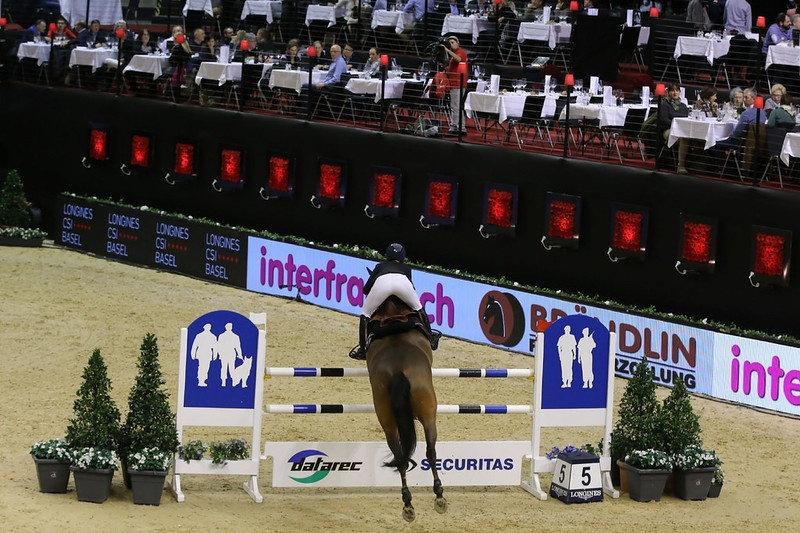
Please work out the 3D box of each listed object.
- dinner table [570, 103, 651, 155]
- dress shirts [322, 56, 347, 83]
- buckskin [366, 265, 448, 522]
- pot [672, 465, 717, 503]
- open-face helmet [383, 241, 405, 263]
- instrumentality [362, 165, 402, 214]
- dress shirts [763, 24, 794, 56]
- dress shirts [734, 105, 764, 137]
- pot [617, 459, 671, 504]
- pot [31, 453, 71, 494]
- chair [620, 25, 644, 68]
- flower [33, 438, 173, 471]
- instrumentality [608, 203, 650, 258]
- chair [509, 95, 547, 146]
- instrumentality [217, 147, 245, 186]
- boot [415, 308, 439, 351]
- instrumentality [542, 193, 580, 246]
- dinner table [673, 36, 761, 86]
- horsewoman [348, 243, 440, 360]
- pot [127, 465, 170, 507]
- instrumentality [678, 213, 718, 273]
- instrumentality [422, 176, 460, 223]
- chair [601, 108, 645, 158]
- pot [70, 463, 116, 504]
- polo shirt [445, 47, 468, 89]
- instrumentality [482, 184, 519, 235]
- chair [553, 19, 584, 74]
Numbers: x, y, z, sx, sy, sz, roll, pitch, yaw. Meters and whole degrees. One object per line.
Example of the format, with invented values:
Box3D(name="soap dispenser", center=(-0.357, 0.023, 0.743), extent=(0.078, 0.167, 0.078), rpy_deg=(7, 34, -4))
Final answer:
Box3D(name="dinner table", center=(4.234, -2.792, 33.787), extent=(1.016, 0.791, 1.394), rpy_deg=(-1, 10, -24))
Box3D(name="dress shirts", center=(-1.381, -4.186, 36.122), extent=(0.252, 0.462, 0.466), rpy_deg=(21, 31, 3))
Box3D(name="buckskin", center=(0.065, 2.237, 27.744), extent=(0.841, 2.944, 4.025), rpy_deg=(-7, 49, 0))
Box3D(name="pot", center=(4.867, 3.572, 28.286), extent=(0.611, 0.629, 0.773), rpy_deg=(-2, 6, -18))
Box3D(name="open-face helmet", center=(-0.083, -0.220, 28.288), extent=(0.239, 0.320, 0.331), rpy_deg=(6, 22, -3))
Box3D(name="instrumentality", center=(-0.331, -1.546, 35.113), extent=(0.638, 0.942, 0.283), rpy_deg=(9, 6, 23))
Box3D(name="dress shirts", center=(7.785, -4.668, 35.028), extent=(0.620, 0.730, 0.524), rpy_deg=(8, 12, 43))
Box3D(name="dress shirts", center=(6.504, -2.736, 32.012), extent=(0.436, 0.581, 0.500), rpy_deg=(1, 3, 17))
Box3D(name="pot", center=(4.134, 3.618, 28.182), extent=(0.593, 0.514, 0.558), rpy_deg=(-1, -6, 0))
Box3D(name="pot", center=(-5.612, 3.269, 27.411), extent=(0.616, 0.633, 0.783), rpy_deg=(1, 16, -14))
Box3D(name="chair", center=(4.988, -4.809, 36.678), extent=(0.574, 0.901, 0.632), rpy_deg=(-1, 12, -2))
Box3D(name="flower", center=(-4.815, 3.031, 27.193), extent=(2.186, 0.483, 0.366), rpy_deg=(0, 3, -4))
Box3D(name="instrumentality", center=(4.427, -0.673, 32.598), extent=(0.817, 0.928, 0.199), rpy_deg=(10, 9, 33))
Box3D(name="chair", center=(2.582, -2.989, 34.923), extent=(0.780, 1.071, 1.778), rpy_deg=(0, 3, 4))
Box3D(name="instrumentality", center=(-3.690, -2.208, 36.954), extent=(0.569, 0.703, 0.211), rpy_deg=(2, 5, 30))
Box3D(name="boot", center=(0.371, 1.049, 27.853), extent=(0.210, 0.629, 0.428), rpy_deg=(-20, 7, 27))
Box3D(name="instrumentality", center=(3.188, -1.009, 33.377), extent=(0.739, 1.039, 0.323), rpy_deg=(9, 38, 5))
Box3D(name="dinner table", center=(6.467, -4.503, 35.528), extent=(1.263, 0.562, 1.276), rpy_deg=(8, 14, 25))
Box3D(name="horsewoman", center=(-0.075, 0.610, 28.494), extent=(1.454, 2.166, 1.992), rpy_deg=(0, -19, -3))
Box3D(name="pot", center=(-4.071, 3.539, 27.237), extent=(0.611, 0.540, 0.545), rpy_deg=(2, -10, -6))
Box3D(name="instrumentality", center=(5.615, -0.457, 31.946), extent=(0.684, 1.065, 0.267), rpy_deg=(9, 9, 34))
Box3D(name="instrumentality", center=(0.816, -1.358, 34.497), extent=(0.626, 0.924, 0.222), rpy_deg=(6, 9, 23))
Box3D(name="chair", center=(4.452, -2.665, 33.716), extent=(0.700, 1.065, 0.690), rpy_deg=(-1, 9, -29))
Box3D(name="pot", center=(-4.941, 3.483, 27.296), extent=(0.680, 0.604, 0.609), rpy_deg=(4, 3, -3))
Box3D(name="polo shirt", center=(1.152, -4.090, 34.903), extent=(0.438, 0.841, 0.718), rpy_deg=(0, 3, 1))
Box3D(name="instrumentality", center=(1.970, -1.151, 33.897), extent=(0.737, 0.944, 0.206), rpy_deg=(9, 11, 31))
Box3D(name="chair", center=(3.545, -4.848, 37.087), extent=(0.571, 0.954, 0.530), rpy_deg=(6, 7, -11))
